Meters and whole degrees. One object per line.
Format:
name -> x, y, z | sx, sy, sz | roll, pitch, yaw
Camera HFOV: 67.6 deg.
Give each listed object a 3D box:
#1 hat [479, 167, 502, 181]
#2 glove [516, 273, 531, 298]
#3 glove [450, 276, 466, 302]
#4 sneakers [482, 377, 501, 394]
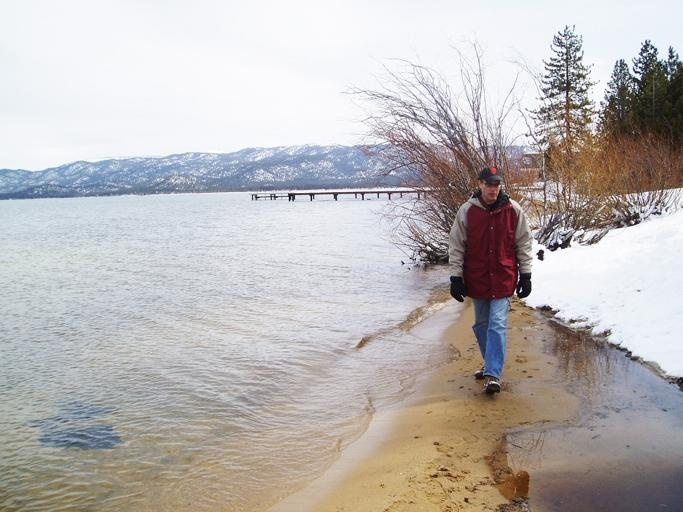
hat -> 1.933, -1.073, 6.719 | 0.269, 0.177, 0.230 | -6, 12, 10
glove -> 2.457, 0.399, 6.944 | 0.124, 0.312, 0.248 | 1, -17, 27
glove -> 1.515, 0.443, 6.982 | 0.272, 0.319, 0.117 | 23, -43, -34
sneakers -> 2.037, 1.781, 6.992 | 0.148, 0.129, 0.318 | -1, -22, 2
